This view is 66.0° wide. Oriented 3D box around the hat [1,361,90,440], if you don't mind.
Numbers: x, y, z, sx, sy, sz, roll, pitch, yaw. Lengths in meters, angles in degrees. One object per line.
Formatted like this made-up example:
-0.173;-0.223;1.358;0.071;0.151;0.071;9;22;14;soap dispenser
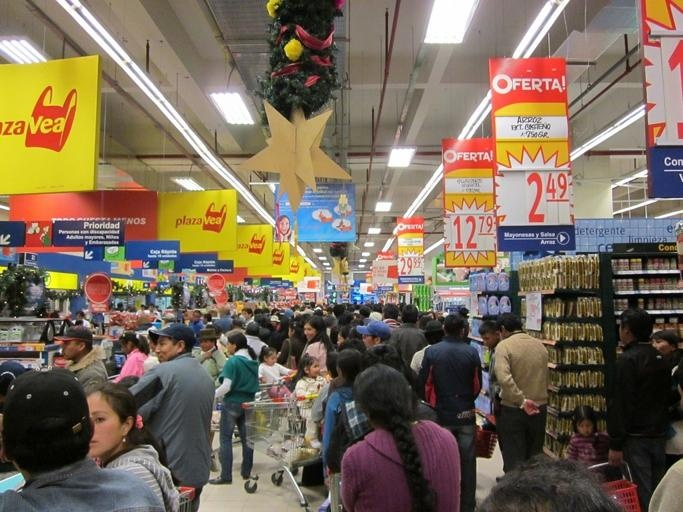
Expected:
-1.196;0.598;2.136;0.304;0.265;0.105;2;-11;-9;hat

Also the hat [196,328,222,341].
-1.589;0.920;6.380;0.260;0.109;0.305;1;3;-1;hat

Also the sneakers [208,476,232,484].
-1.371;2.527;5.994;0.261;0.120;0.101;7;-10;-2;sneakers

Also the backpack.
0.035;1.134;3.351;0.263;0.535;0.811;1;-11;-3;backpack

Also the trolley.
-0.639;1.950;5.303;1.326;1.445;0.860;-1;-7;26;trolley

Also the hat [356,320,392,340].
0.329;0.754;5.508;0.298;0.126;0.198;5;1;21;hat

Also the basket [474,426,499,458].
1.499;1.935;5.496;0.212;0.305;0.217;0;-11;3;basket

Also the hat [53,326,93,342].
-2.491;0.729;4.913;0.239;0.134;0.174;4;-9;-11;hat

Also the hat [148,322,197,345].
-1.372;0.664;4.333;0.270;0.147;0.190;11;-13;-9;hat
